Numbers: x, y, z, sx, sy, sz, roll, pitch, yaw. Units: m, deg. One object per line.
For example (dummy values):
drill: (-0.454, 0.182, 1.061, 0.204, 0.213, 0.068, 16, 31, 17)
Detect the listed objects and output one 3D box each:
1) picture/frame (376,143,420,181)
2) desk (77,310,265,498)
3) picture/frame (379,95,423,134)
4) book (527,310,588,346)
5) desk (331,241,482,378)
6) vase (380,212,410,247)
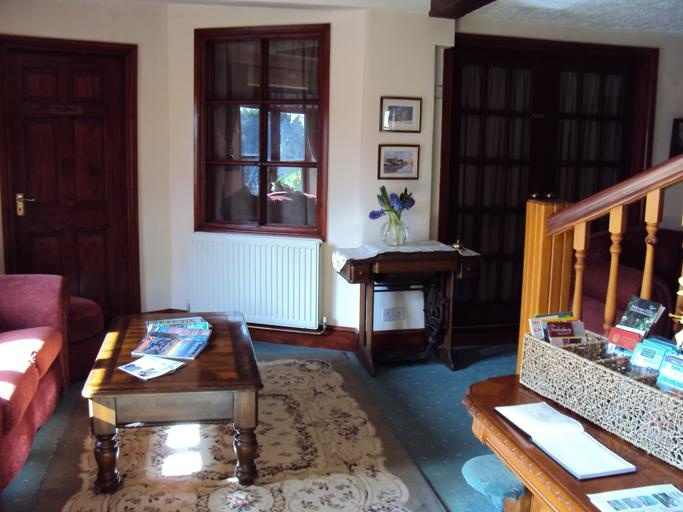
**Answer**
picture/frame: (0.459, -0.818, 4.362, 0.304, 0.268, 0.030, -1, 2, -13)
desk: (-0.912, 0.755, 2.812, 0.731, 0.468, 1.172, -2, 17, -9)
picture/frame: (0.477, -1.209, 4.310, 0.307, 0.269, 0.026, 1, 3, -17)
book: (0.796, 0.269, 1.889, 0.132, 0.039, 0.139, 1, 11, -21)
desk: (0.536, 0.404, 4.448, 1.191, 1.052, 0.737, -1, 11, -11)
vase: (0.385, -0.236, 4.289, 0.250, 0.366, 0.248, 0, 5, 2)
